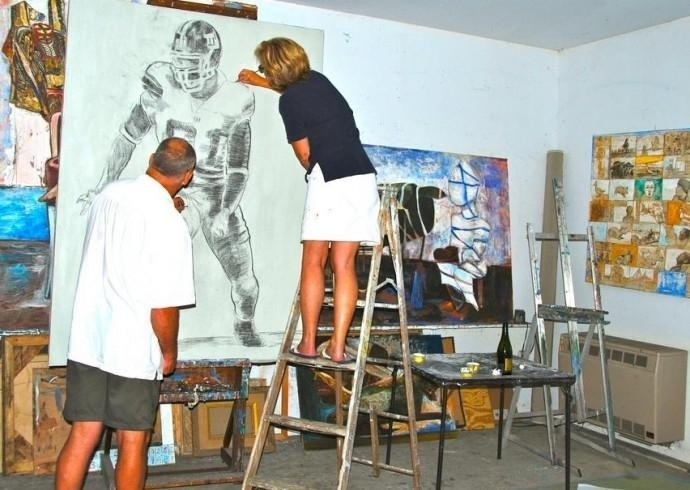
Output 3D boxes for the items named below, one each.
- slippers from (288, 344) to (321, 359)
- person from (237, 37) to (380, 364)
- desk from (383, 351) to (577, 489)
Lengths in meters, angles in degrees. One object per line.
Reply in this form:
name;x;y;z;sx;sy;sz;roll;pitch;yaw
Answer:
slippers;-0.273;0.730;5.275;0.198;0.067;0.084;9;0;21
person;-0.167;-0.319;5.311;0.814;2.230;0.297;2;2;13
desk;1.148;1.218;6.079;1.074;0.938;1.099;2;0;-12
